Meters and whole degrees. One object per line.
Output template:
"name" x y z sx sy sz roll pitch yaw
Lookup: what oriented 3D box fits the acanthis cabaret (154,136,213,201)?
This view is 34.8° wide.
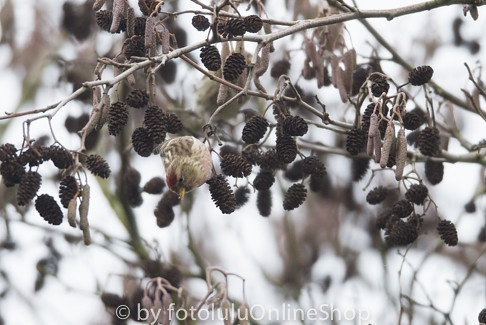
"acanthis cabaret" -0.294 -0.057 4.057 0.317 0.446 0.167 -9 -32 9
